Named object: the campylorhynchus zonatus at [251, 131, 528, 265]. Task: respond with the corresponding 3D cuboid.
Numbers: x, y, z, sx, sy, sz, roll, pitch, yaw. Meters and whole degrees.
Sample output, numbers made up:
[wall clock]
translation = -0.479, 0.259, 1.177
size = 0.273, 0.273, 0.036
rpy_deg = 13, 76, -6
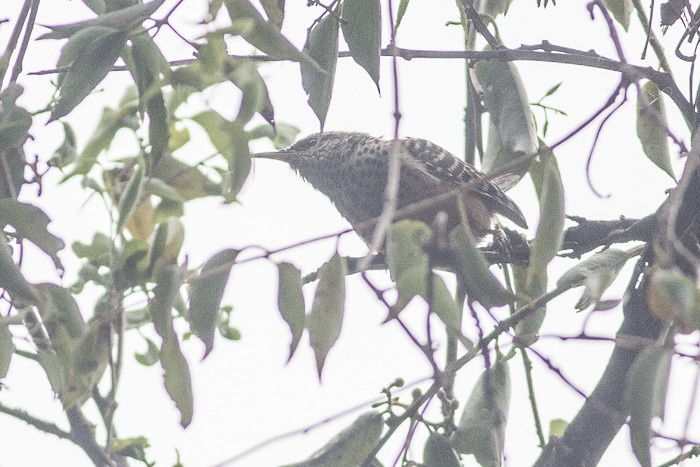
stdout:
[campylorhynchus zonatus]
translation = 0.052, -0.039, 1.406
size = 0.396, 0.128, 0.158
rpy_deg = -9, -83, 13
